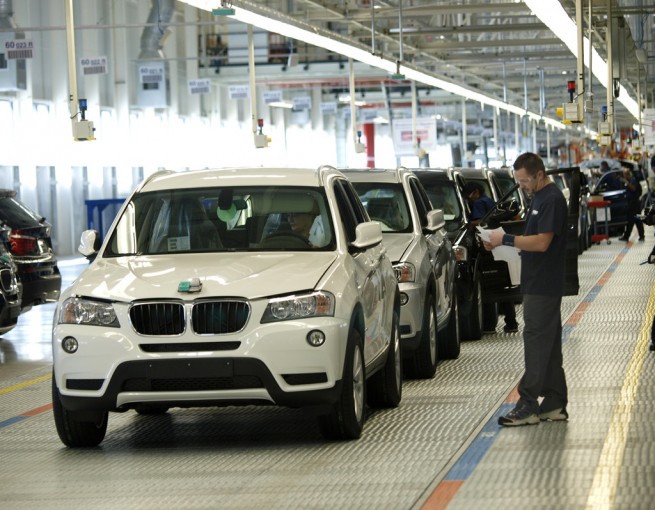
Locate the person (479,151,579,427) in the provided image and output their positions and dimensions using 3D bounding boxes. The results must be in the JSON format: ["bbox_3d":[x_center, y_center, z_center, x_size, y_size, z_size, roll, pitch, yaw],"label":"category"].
[{"bbox_3d":[1.690,0.297,5.638,0.558,2.263,0.527,0,7,20],"label":"person"}]

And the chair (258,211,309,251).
[{"bbox_3d":[-0.378,-0.221,5.931,0.256,0.198,0.433,1,13,2],"label":"chair"}]

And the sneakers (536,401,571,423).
[{"bbox_3d":[1.904,1.337,5.779,0.316,0.163,0.118,3,3,2],"label":"sneakers"}]

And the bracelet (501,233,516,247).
[{"bbox_3d":[1.490,-0.117,5.621,0.116,0.121,0.091,-2,2,22],"label":"bracelet"}]

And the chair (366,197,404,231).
[{"bbox_3d":[0.725,-0.520,8.560,0.319,0.513,0.460,-2,-3,16],"label":"chair"}]
